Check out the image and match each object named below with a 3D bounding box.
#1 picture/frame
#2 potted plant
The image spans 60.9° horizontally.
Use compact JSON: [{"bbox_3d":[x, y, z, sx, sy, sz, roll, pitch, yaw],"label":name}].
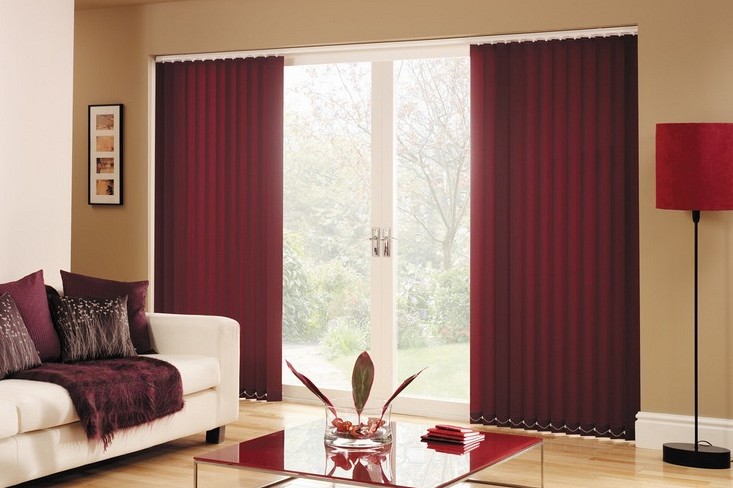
[{"bbox_3d":[-2.575,-0.880,6.152,0.412,0.978,0.111,2,3,25],"label":"picture/frame"},{"bbox_3d":[-0.070,0.856,3.456,0.629,0.420,0.518,0,-2,23],"label":"potted plant"}]
